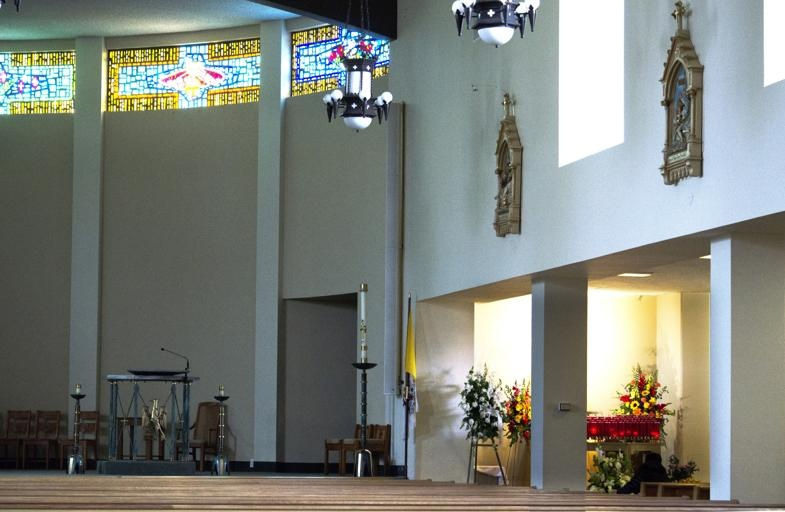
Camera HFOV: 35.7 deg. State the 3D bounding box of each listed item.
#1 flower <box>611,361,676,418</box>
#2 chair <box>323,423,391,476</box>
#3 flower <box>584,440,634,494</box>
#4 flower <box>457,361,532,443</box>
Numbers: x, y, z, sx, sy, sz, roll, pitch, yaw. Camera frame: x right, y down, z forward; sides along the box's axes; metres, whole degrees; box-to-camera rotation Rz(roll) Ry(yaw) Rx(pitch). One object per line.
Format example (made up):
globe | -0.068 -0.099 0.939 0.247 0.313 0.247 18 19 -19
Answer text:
flower | 4.040 2.317 20.090 0.954 1.045 0.728 2 -13 0
chair | -0.590 3.619 20.782 0.857 1.190 1.406 7 -16 -23
flower | 3.247 3.234 18.671 0.682 0.984 0.679 -1 1 2
flower | 1.630 2.388 19.862 1.176 1.217 1.024 3 -9 -23
